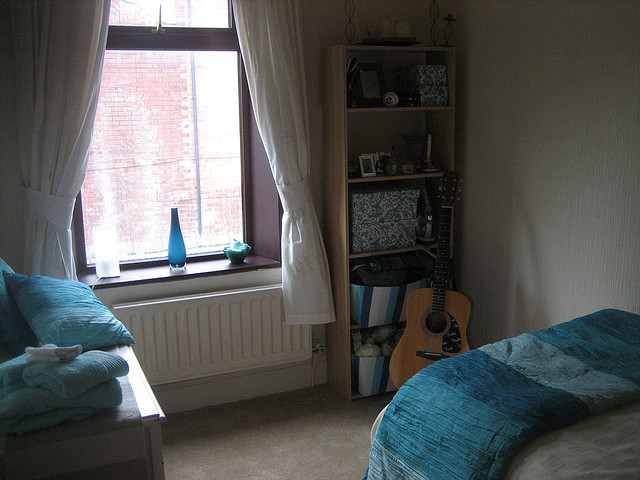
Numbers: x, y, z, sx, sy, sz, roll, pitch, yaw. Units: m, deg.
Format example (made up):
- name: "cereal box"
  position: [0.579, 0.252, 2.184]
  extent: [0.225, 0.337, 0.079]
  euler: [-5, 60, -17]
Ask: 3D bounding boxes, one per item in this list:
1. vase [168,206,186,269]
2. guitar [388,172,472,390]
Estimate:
- name: "vase"
  position: [-0.889, -0.024, 3.155]
  extent: [0.105, 0.383, 0.094]
  euler: [-6, 9, -17]
- name: "guitar"
  position: [0.645, 0.215, 3.058]
  extent: [0.478, 1.235, 0.423]
  euler: [-2, 8, 13]
